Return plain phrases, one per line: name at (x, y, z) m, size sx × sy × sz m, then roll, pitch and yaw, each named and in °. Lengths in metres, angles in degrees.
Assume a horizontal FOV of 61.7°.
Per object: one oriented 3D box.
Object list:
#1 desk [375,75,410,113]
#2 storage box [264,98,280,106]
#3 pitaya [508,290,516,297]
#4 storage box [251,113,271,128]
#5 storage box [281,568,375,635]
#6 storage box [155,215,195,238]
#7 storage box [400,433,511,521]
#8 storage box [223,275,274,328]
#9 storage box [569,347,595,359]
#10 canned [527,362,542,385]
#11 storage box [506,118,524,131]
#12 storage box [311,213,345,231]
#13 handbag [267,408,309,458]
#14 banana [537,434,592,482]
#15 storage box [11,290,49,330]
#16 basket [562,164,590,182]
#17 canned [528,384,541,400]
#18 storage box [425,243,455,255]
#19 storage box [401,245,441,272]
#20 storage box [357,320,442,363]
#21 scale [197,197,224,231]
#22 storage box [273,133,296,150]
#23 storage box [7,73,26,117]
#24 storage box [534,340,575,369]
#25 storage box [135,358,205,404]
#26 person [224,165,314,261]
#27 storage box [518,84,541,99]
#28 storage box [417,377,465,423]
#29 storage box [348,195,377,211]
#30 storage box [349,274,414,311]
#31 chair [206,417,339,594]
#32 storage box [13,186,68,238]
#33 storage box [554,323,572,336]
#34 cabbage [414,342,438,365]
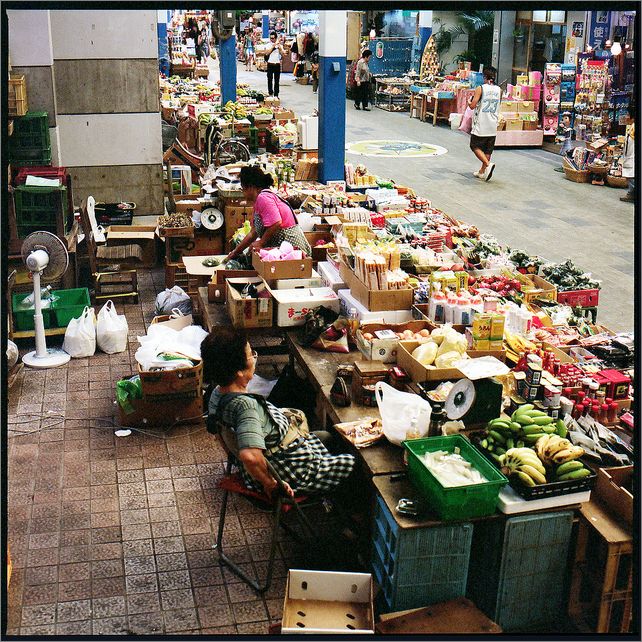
desk at (2.938, -9.202, 21.933) m, size 1.389 × 1.358 × 2.370 m, roll 1°, pitch 19°, yaw 5°
storage box at (-1.587, -7.032, 17.445) m, size 0.528 × 0.313 × 0.511 m, roll -2°, pitch 17°, yaw -8°
pitaya at (1.735, -0.242, 4.869) m, size 0.050 × 0.030 × 0.058 m, roll -2°, pitch 15°, yaw -2°
storage box at (-1.482, -5.124, 13.817) m, size 0.534 × 0.371 × 0.350 m, roll -4°, pitch 22°, yaw -12°
storage box at (0.039, 1.214, 2.291) m, size 0.388 × 0.192 × 0.374 m, roll 0°, pitch 19°, yaw 2°
storage box at (-1.823, -1.173, 6.782) m, size 0.435 × 0.246 × 0.477 m, roll -5°, pitch 19°, yaw -13°
storage box at (0.622, 0.694, 2.447) m, size 0.382 × 0.210 × 0.446 m, roll -6°, pitch 20°, yaw -15°
storage box at (-0.602, -0.119, 4.492) m, size 0.310 × 0.245 × 0.531 m, roll -2°, pitch 12°, yaw -16°
storage box at (1.883, 0.248, 3.855) m, size 0.091 × 0.046 × 0.135 m, roll -5°, pitch 20°, yaw -8°
canned at (1.185, 0.295, 2.983) m, size 0.076 × 0.123 × 0.084 m, roll -2°, pitch 21°, yaw -3°
storage box at (5.504, -5.548, 15.234) m, size 0.563 × 0.301 × 0.114 m, roll -5°, pitch 20°, yaw -13°
storage box at (0.098, -1.106, 6.149) m, size 0.357 × 0.150 × 0.670 m, roll 1°, pitch 19°, yaw 4°
handbag at (-0.128, 0.568, 2.915) m, size 0.259 × 0.161 × 0.201 m, roll -11°, pitch 41°, yaw 0°
banana at (1.110, 0.635, 2.480) m, size 0.218 × 0.104 × 0.163 m, roll 24°, pitch 47°, yaw 16°
storage box at (-2.946, -0.109, 5.465) m, size 0.301 × 0.215 × 0.429 m, roll -3°, pitch 15°, yaw -17°
basket at (5.858, -3.353, 12.345) m, size 0.260 × 0.354 × 0.590 m, roll -16°, pitch 24°, yaw -38°
canned at (1.186, 0.405, 3.010) m, size 0.073 × 0.096 × 0.039 m, roll 7°, pitch 20°, yaw 21°
storage box at (1.252, -0.757, 5.718) m, size 0.229 × 0.096 × 0.225 m, roll 0°, pitch 16°, yaw -7°
storage box at (0.912, -0.633, 5.048) m, size 0.273 × 0.107 × 0.333 m, roll 1°, pitch 22°, yaw -6°
storage box at (0.448, 0.128, 3.635) m, size 0.304 × 0.133 × 0.391 m, roll -2°, pitch 12°, yaw -1°
scale at (-1.415, -1.373, 7.018) m, size 0.288 × 0.312 × 0.605 m, roll -4°, pitch 19°, yaw -10°
storage box at (-0.824, -4.068, 12.255) m, size 0.505 × 0.354 × 1.027 m, roll -2°, pitch 19°, yaw -2°
storage box at (-3.696, -2.742, 6.537) m, size 0.201 × 0.510 × 0.693 m, roll -9°, pitch 21°, yaw -23°
storage box at (1.580, 0.218, 3.633) m, size 0.244 × 0.111 × 0.234 m, roll 7°, pitch 20°, yaw 22°
storage box at (-1.132, 0.470, 4.109) m, size 0.472 × 0.287 × 0.471 m, roll -2°, pitch 9°, yaw -10°
person at (-0.519, -1.018, 5.144) m, size 0.679 × 0.860 × 0.597 m, roll 10°, pitch 22°, yaw 28°
storage box at (5.956, -6.463, 15.286) m, size 0.470 × 0.354 × 0.449 m, roll -1°, pitch 13°, yaw 0°
storage box at (0.672, 0.401, 2.879) m, size 0.193 × 0.078 × 0.234 m, roll -6°, pitch 24°, yaw -6°
storage box at (0.574, -1.678, 7.648) m, size 0.330 × 0.181 × 0.492 m, roll -3°, pitch 19°, yaw -6°
storage box at (0.437, -0.228, 4.085) m, size 0.257 × 0.114 × 0.341 m, roll -2°, pitch 18°, yaw -14°
chair at (-0.322, 0.964, 2.874) m, size 0.483 × 0.799 × 0.578 m, roll 10°, pitch -17°, yaw 16°
storage box at (-3.196, -1.289, 6.497) m, size 0.806 × 0.578 × 0.796 m, roll -2°, pitch 10°, yaw -17°
storage box at (1.928, 0.073, 4.318) m, size 0.150 × 0.053 × 0.112 m, roll 14°, pitch 19°, yaw 39°
cabbage at (0.642, 0.200, 3.261) m, size 0.110 × 0.054 × 0.143 m, roll 29°, pitch 66°, yaw 6°
